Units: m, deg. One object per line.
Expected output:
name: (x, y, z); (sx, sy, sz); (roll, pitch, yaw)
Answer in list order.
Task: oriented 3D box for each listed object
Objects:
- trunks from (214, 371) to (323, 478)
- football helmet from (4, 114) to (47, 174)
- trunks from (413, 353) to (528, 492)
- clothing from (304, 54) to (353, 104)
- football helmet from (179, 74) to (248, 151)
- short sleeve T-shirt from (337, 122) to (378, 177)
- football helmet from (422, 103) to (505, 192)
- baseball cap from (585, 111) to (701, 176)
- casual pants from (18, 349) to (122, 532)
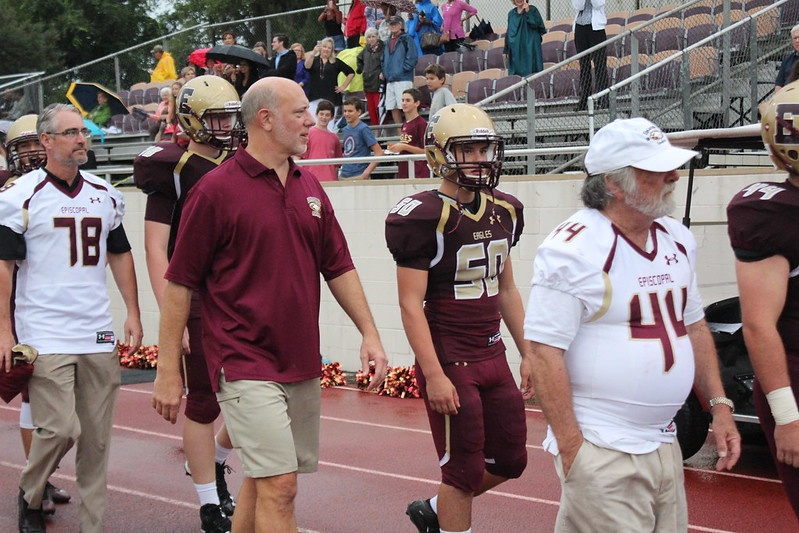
trunks: (-0.799, 0.978, 6.273); (0.435, 0.730, 0.744); (-4, -4, 34)
football helmet: (-3.165, -1.016, 8.276); (0.474, 0.542, 0.604); (-5, -3, -19)
trunks: (0.566, 1.140, 6.748); (0.630, 1.429, 0.577); (-7, 12, -13)
clothing: (-1.138, -3.103, 15.646); (0.853, 0.820, 0.407); (6, 9, 3)
football helmet: (-1.433, -1.175, 7.121); (0.602, 0.510, 0.444); (9, 14, 6)
short sleeve T-shirt: (-0.591, -1.612, 13.083); (0.666, 0.759, 0.383); (1, 9, 44)
football helmet: (0.419, -0.882, 6.696); (0.503, 0.543, 0.636); (-13, 24, -39)
baseball cap: (1.385, -0.721, 5.558); (0.512, 0.226, 0.344); (-2, 10, 13)
casual pants: (-2.439, 1.349, 7.069); (0.742, 1.395, 0.449); (-3, 8, -22)
